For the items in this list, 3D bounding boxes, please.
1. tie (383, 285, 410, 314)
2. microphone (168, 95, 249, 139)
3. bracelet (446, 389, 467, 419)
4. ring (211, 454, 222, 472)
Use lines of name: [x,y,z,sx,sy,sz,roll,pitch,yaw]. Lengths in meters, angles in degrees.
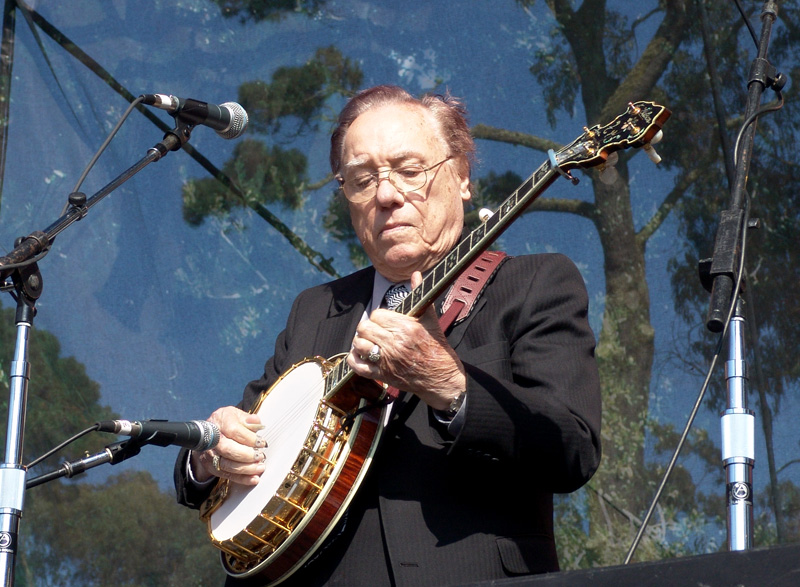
tie: [-0.020,0.015,7.737,0.104,0.035,0.146,33,-6,-7]
microphone: [-0.974,-0.907,8.190,0.162,0.174,0.472,20,9,33]
bracelet: [0.260,0.510,7.216,0.041,0.114,0.083,32,-17,-30]
ring: [-0.884,0.822,7.552,0.027,0.072,0.051,-10,10,-22]
